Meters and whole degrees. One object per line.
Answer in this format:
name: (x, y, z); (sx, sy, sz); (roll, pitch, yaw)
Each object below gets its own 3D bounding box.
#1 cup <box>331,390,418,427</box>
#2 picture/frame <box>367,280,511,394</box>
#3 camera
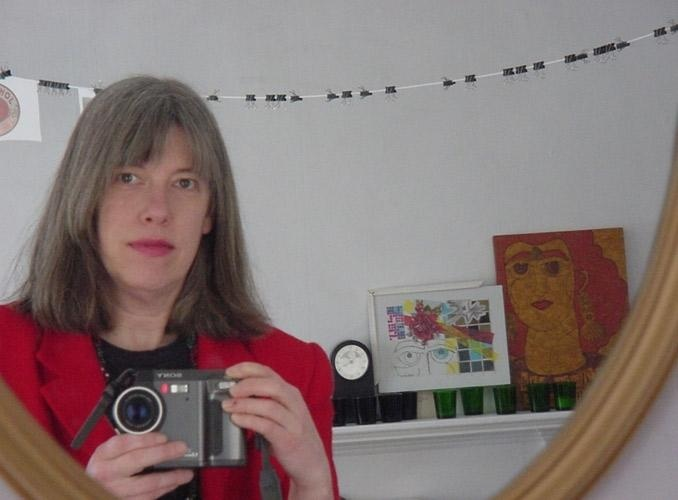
cup: (0.082, 0.337, 1.821); (0.187, 0.071, 0.081); (0, 4, -3)
picture/frame: (0.198, 0.159, 1.623); (0.227, 0.199, 0.031); (-5, 23, 12)
camera: (-0.240, 0.253, 1.195); (0.195, 0.143, 0.117); (7, -43, -15)
